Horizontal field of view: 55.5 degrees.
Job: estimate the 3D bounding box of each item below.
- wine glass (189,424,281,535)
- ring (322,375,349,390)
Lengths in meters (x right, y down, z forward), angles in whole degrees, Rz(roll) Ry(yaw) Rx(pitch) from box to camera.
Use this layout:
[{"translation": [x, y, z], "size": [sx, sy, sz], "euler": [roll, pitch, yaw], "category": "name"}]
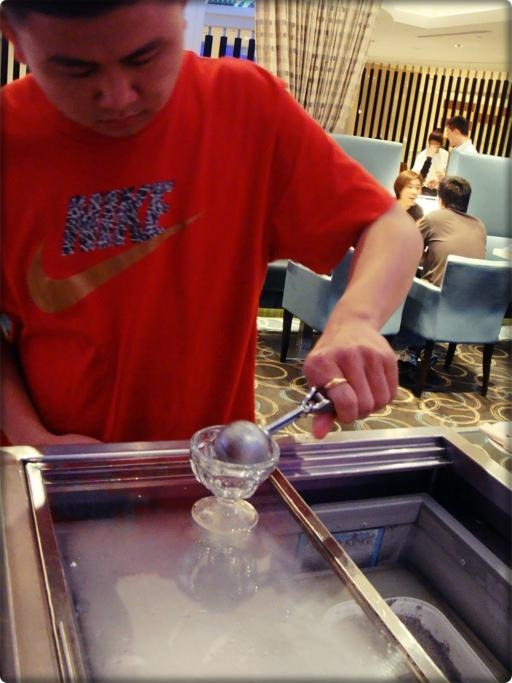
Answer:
[{"translation": [-0.029, 0.145, 0.487], "size": [0.091, 0.071, 0.086], "euler": [5, 22, -23], "category": "wine glass"}, {"translation": [0.093, 0.049, 0.571], "size": [0.008, 0.020, 0.015], "euler": [50, 30, -8], "category": "ring"}]
